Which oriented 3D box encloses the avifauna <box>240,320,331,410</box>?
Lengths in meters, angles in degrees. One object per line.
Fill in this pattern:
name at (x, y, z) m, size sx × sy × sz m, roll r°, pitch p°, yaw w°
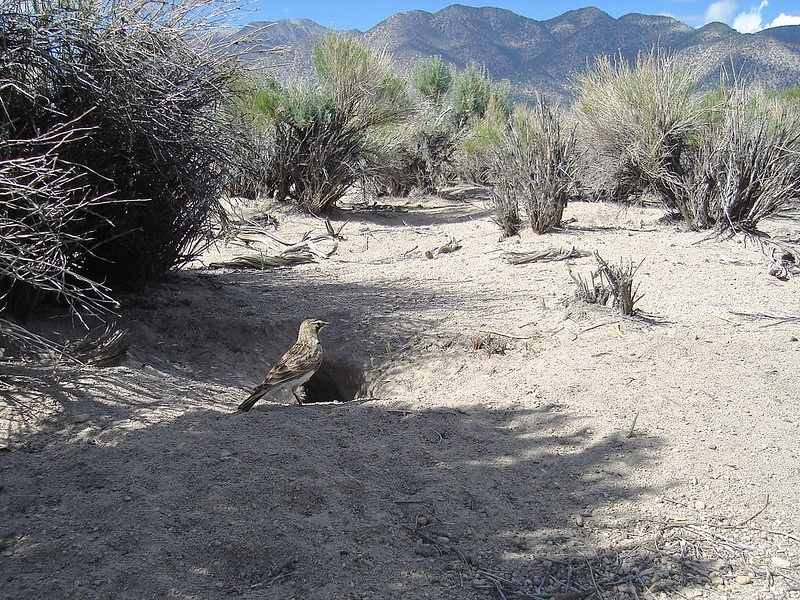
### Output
avifauna at (-0.851, 0.464, 4.850) m, size 0.326 × 0.533 × 0.889 m, roll 5°, pitch 14°, yaw 36°
